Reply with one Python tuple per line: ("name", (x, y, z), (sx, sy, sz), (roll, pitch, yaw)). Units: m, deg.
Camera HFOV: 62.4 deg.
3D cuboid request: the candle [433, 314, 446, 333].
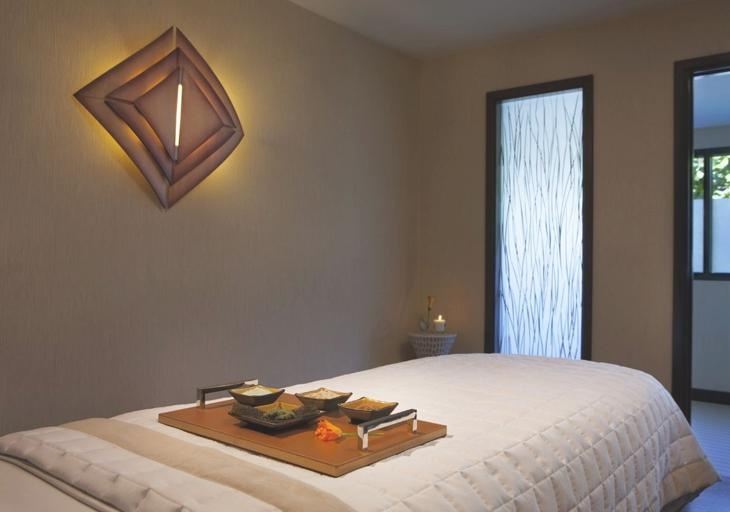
("candle", (0.609, 0.554, 4.958), (0.100, 0.199, 0.110), (2, 1, 20))
